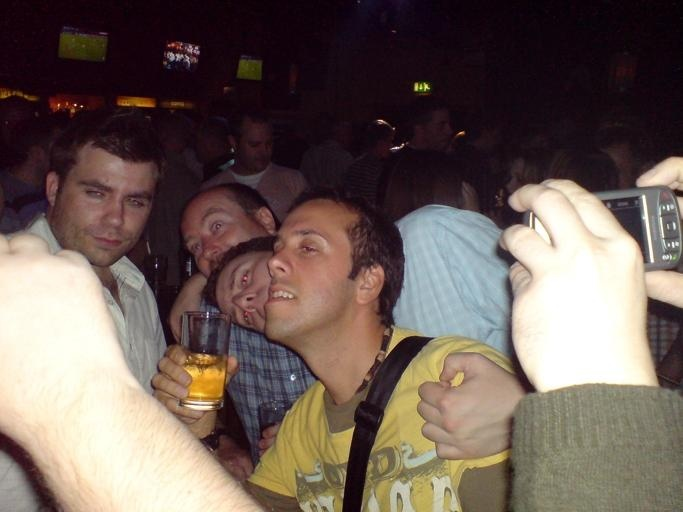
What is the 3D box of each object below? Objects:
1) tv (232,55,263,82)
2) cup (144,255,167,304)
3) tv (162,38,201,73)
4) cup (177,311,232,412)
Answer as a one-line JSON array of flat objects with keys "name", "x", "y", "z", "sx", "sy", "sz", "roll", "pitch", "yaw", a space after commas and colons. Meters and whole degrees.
[{"name": "tv", "x": -1.957, "y": -3.979, "z": 12.092, "sx": 0.566, "sy": 0.562, "sz": 0.134, "roll": -1, "pitch": 6, "yaw": -15}, {"name": "cup", "x": -1.502, "y": 0.139, "z": 4.615, "sx": 0.181, "sy": 0.237, "sz": 0.519, "roll": -4, "pitch": 10, "yaw": -19}, {"name": "tv", "x": -3.466, "y": -4.290, "z": 12.314, "sx": 0.909, "sy": 0.669, "sz": 0.504, "roll": 4, "pitch": 28, "yaw": -10}, {"name": "cup", "x": -0.611, "y": 0.452, "z": 2.524, "sx": 0.235, "sy": 0.408, "sz": 0.261, "roll": -1, "pitch": 9, "yaw": -4}]
